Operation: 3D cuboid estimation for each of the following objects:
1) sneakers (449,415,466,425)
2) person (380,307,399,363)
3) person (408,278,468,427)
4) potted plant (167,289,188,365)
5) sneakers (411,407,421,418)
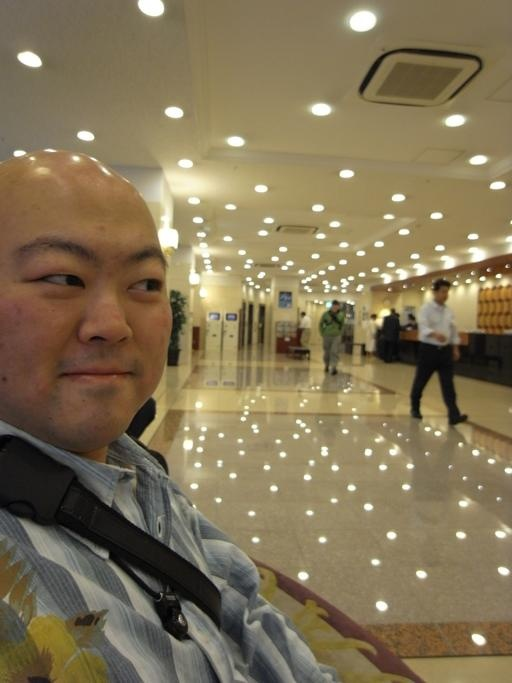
[{"bbox_3d":[1.943,0.760,4.818,0.148,0.109,0.307,-6,-2,23],"label":"sneakers"},{"bbox_3d":[3.818,-0.175,14.208,0.556,1.407,1.213,-6,-2,14],"label":"person"},{"bbox_3d":[1.755,0.119,4.971,0.506,1.413,0.505,-6,-2,20],"label":"person"},{"bbox_3d":[-1.702,-0.228,10.267,0.524,1.519,0.491,5,-6,3],"label":"potted plant"},{"bbox_3d":[1.644,0.751,5.136,0.129,0.124,0.057,0,6,2],"label":"sneakers"}]
